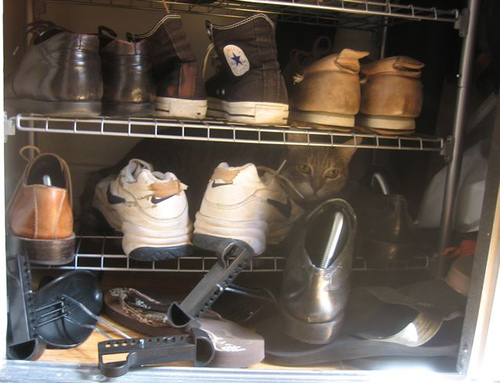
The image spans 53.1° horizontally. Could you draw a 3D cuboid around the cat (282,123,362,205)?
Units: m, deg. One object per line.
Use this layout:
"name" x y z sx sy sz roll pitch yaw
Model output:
"cat" 0.200 -0.079 1.458 0.167 0.174 0.267 3 22 -3
